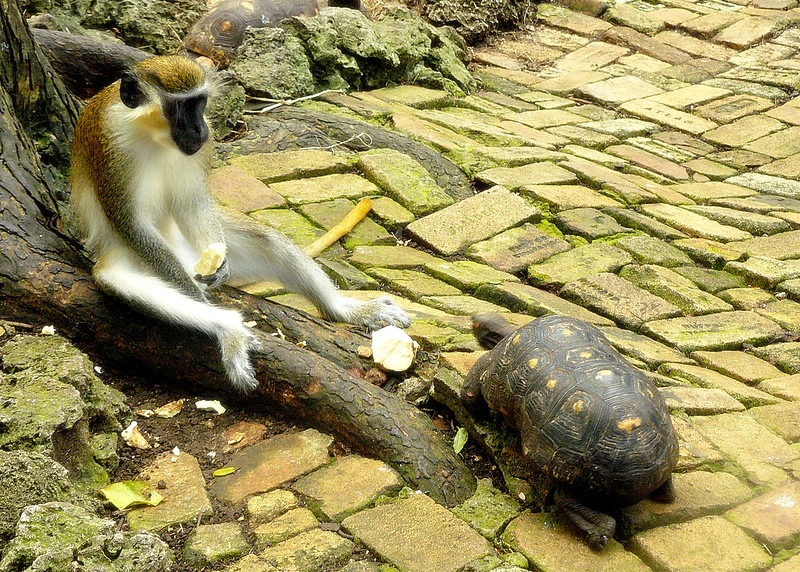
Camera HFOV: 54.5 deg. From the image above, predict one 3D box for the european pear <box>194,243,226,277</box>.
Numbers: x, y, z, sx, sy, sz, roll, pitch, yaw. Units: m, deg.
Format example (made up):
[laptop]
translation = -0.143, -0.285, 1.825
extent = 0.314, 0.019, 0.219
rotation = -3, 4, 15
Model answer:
[european pear]
translation = -1.067, -0.147, 4.388
extent = 0.063, 0.198, 0.138
rotation = 23, 23, -41

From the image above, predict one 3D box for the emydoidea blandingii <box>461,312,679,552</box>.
[emydoidea blandingii]
translation = 0.865, 0.665, 3.776
extent = 0.604, 0.577, 1.010
rotation = -18, 47, -29

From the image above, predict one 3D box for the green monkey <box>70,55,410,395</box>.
[green monkey]
translation = -1.181, -0.395, 4.330
extent = 1.715, 1.360, 1.108
rotation = 25, 43, 16
